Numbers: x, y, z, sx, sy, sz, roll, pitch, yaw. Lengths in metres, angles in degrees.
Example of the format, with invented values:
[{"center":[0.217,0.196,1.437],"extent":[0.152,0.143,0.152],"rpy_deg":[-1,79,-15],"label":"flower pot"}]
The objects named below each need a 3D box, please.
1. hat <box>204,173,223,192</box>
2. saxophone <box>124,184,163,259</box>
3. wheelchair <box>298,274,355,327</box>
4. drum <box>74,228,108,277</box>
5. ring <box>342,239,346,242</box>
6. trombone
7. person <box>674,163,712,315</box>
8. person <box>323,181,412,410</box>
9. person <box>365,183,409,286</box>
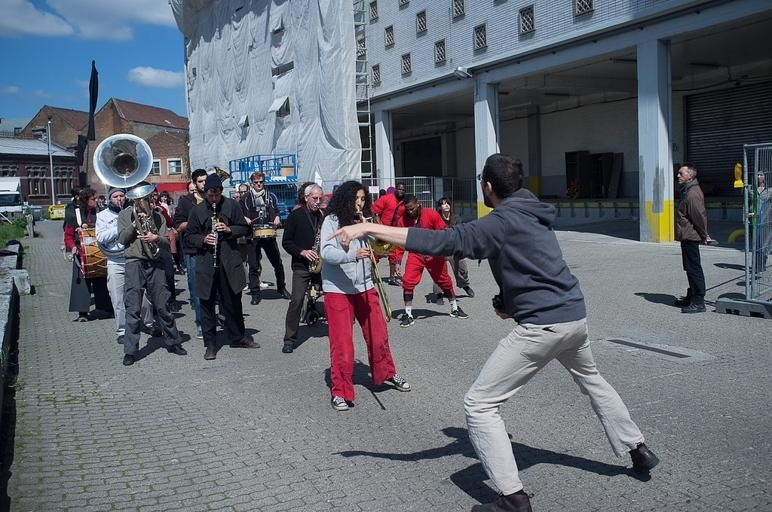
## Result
[{"center":[-2.518,-1.065,7.903],"extent":[0.246,0.256,0.219],"rpy_deg":[-6,7,-19],"label":"hat"},{"center":[-3.565,-0.538,8.005],"extent":[0.437,1.255,0.517],"rpy_deg":[3,-1,-35],"label":"saxophone"},{"center":[-1.219,0.841,9.460],"extent":[1.294,0.999,0.518],"rpy_deg":[0,0,-8],"label":"wheelchair"},{"center":[-0.075,0.344,6.009],"extent":[0.137,0.823,0.147],"rpy_deg":[-14,16,4],"label":"drum"},{"center":[-0.339,-0.125,4.332],"extent":[0.037,0.019,0.011],"rpy_deg":[-1,7,23],"label":"ring"},{"center":[-0.144,0.148,6.008],"extent":[0.388,1.392,0.412],"rpy_deg":[0,0,-4],"label":"trombone"},{"center":[5.237,-0.292,9.279],"extent":[0.649,2.419,0.769],"rpy_deg":[-6,-2,38],"label":"person"},{"center":[-0.319,0.445,6.627],"extent":[0.894,2.450,0.981],"rpy_deg":[-1,2,-28],"label":"person"},{"center":[0.111,-0.466,11.888],"extent":[0.934,2.265,0.827],"rpy_deg":[4,-3,-16],"label":"person"}]
